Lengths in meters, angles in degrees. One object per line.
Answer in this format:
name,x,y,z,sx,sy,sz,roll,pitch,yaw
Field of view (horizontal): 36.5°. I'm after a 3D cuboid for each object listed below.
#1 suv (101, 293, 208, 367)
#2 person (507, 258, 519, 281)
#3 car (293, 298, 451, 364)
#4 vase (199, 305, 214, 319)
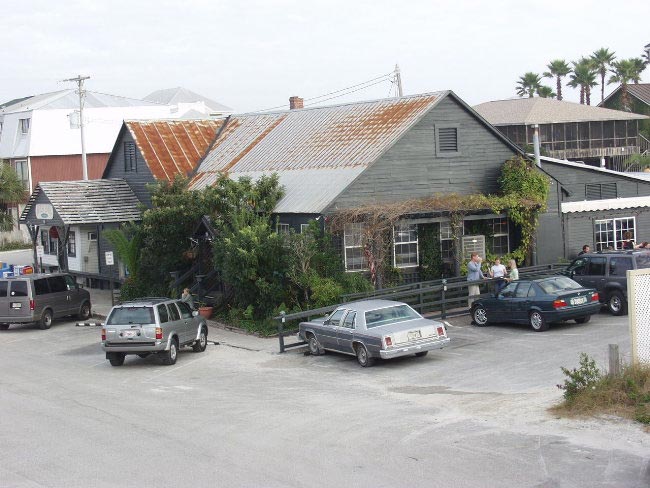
suv,-5.429,2.767,32.727,1.658,1.489,3.264,0,6,20
person,7.342,1.001,38.106,0.373,1.264,0.516,5,12,23
car,1.555,2.791,31.038,2.059,1.847,4.589,-12,12,-44
vase,-4.808,2.715,39.623,0.434,0.352,0.446,-2,1,41
